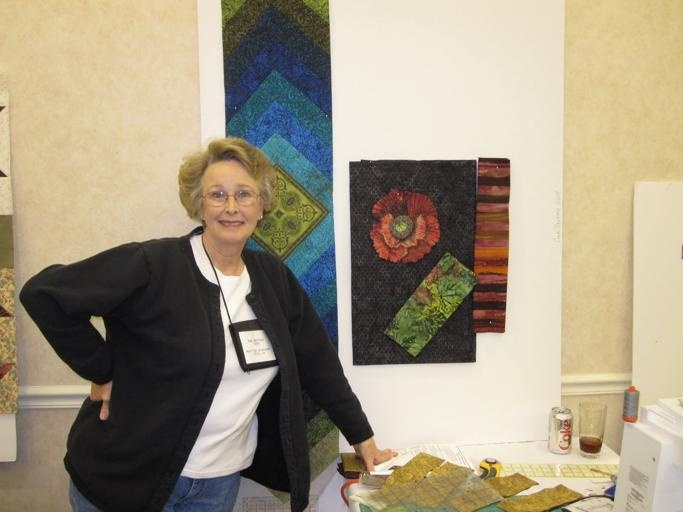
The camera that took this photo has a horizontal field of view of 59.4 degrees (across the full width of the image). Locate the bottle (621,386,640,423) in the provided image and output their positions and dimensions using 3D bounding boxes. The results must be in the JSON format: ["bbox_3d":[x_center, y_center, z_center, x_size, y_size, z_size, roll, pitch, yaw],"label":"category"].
[{"bbox_3d":[1.095,0.542,2.240,0.059,0.134,0.165,11,9,27],"label":"bottle"}]

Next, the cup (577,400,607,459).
[{"bbox_3d":[1.143,0.766,2.715,0.118,0.218,0.191,9,9,16],"label":"cup"}]

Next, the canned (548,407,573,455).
[{"bbox_3d":[1.010,0.784,2.732,0.116,0.197,0.123,10,9,23],"label":"canned"}]
